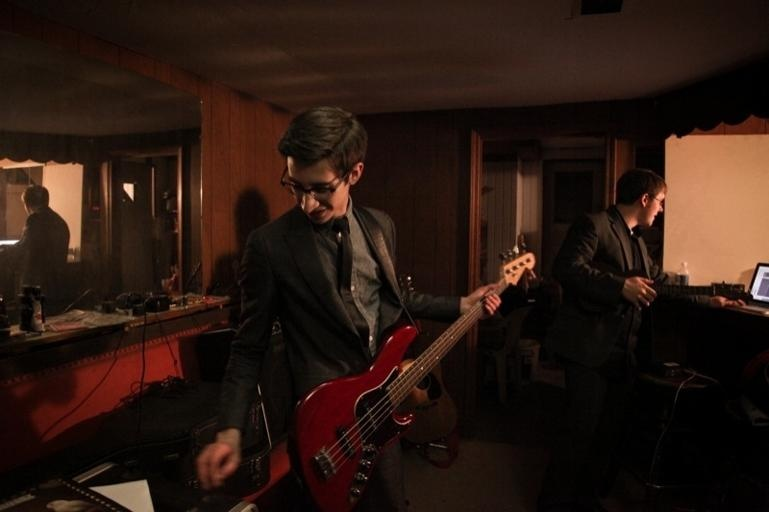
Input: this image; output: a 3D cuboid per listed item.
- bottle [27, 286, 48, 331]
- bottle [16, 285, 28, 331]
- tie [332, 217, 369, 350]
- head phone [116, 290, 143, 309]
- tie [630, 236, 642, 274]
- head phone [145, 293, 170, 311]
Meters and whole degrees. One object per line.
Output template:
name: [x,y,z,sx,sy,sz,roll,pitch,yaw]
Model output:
bottle: [-2.076,0.306,3.455,0.074,0.268,0.121,-6,12,-26]
bottle: [-2.117,0.304,3.411,0.077,0.252,0.075,-1,11,0]
tie: [-0.178,0.126,2.909,0.063,0.595,0.221,-14,-6,31]
head phone: [-1.681,0.279,3.802,0.112,0.081,0.118,2,-2,4]
tie: [1.738,-0.013,4.016,0.124,0.258,0.036,0,-10,-37]
head phone: [-1.535,0.316,3.916,0.093,0.117,0.174,2,2,15]
